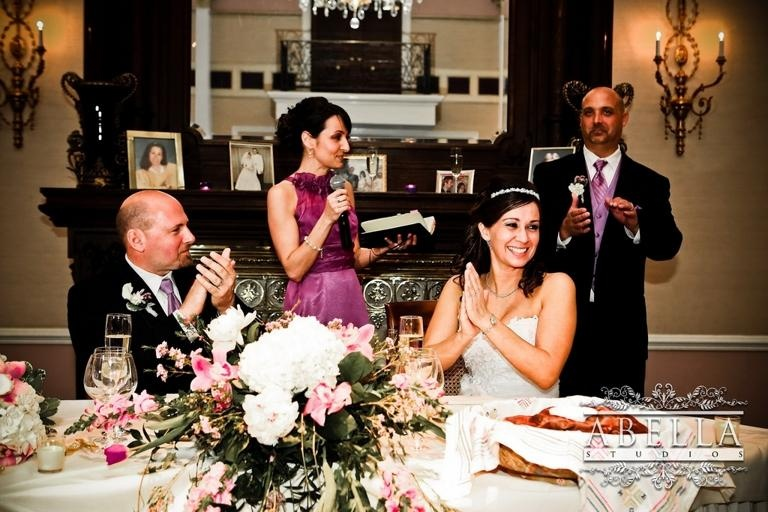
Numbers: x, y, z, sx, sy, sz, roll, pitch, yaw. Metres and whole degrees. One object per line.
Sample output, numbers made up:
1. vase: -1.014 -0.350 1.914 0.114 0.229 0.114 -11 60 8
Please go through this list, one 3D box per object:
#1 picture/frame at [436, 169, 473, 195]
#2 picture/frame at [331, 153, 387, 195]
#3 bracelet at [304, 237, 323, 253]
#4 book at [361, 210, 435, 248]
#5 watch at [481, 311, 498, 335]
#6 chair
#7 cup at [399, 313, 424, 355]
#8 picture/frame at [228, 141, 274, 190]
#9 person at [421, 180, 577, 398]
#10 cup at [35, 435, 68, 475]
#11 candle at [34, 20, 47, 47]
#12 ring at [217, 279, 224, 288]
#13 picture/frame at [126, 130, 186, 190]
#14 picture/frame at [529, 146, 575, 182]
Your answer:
1. picture/frame: 0.525 -0.550 5.760 0.205 0.220 0.016 0 1 15
2. picture/frame: -0.188 -0.578 5.468 0.391 0.349 0.034 3 -9 -13
3. bracelet: -0.420 -0.075 4.587 0.097 0.091 0.045 0 6 -8
4. book: 0.043 -0.169 4.906 0.300 0.123 0.302 -19 -14 27
5. watch: 0.508 0.328 3.760 0.056 0.099 0.086 23 9 -10
6. chair: 0.248 0.443 4.546 0.334 0.579 0.390 0 -6 -4
7. cup: 0.120 0.359 3.487 0.120 0.189 0.116 -1 6 0
8. picture/frame: -0.968 -0.663 5.683 0.440 0.539 0.038 1 -20 -10
9. person: 0.580 0.175 3.988 0.701 1.098 0.674 -5 8 -40
10. cup: -1.333 0.792 3.108 0.137 0.127 0.142 -1 -2 0
11. candle: -2.598 -1.691 5.879 0.062 0.200 0.118 -3 7 -26
12. ring: -0.782 0.129 3.710 0.033 0.034 0.010 -1 7 -28
13. picture/frame: -1.660 -0.687 5.593 0.454 0.540 0.052 -4 5 -29
14. picture/frame: 1.118 -0.609 5.149 0.318 0.351 0.024 2 -4 11
